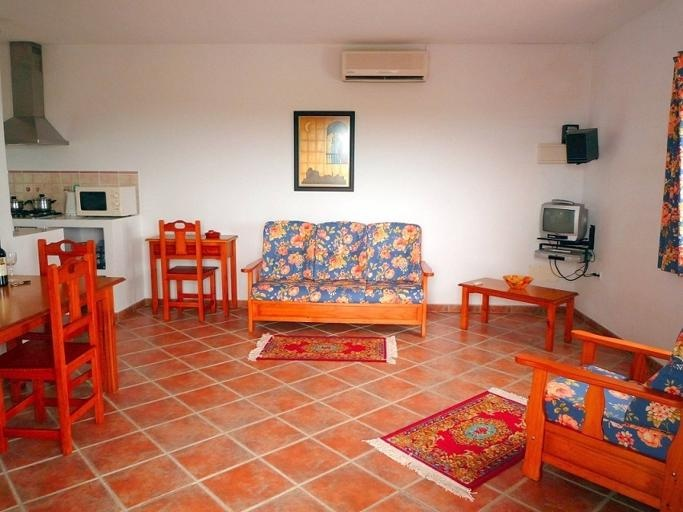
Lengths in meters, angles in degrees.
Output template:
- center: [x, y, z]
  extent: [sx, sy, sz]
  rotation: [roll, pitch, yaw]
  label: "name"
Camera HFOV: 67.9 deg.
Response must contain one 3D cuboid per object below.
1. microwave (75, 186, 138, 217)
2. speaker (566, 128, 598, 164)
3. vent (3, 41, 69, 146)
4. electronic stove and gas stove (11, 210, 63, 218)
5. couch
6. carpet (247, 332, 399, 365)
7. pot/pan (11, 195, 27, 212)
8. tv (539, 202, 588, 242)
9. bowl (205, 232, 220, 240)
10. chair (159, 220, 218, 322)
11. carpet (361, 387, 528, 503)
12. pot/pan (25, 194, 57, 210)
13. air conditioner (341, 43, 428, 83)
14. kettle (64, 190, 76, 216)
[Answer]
- center: [-2.778, -0.641, 5.954]
  extent: [0.644, 0.332, 0.404]
  rotation: [1, 5, 4]
  label: "microwave"
- center: [2.625, -1.213, 5.620]
  extent: [0.342, 0.262, 0.223]
  rotation: [-5, 10, 10]
  label: "speaker"
- center: [-3.606, -1.881, 5.851]
  extent: [0.547, 1.184, 0.507]
  rotation: [2, 10, 3]
  label: "vent"
- center: [-3.555, -0.499, 5.968]
  extent: [0.369, 0.075, 0.535]
  rotation: [9, 11, 44]
  label: "electronic stove and gas stove"
- center: [-0.018, 0.232, 5.683]
  extent: [1.990, 0.915, 0.794]
  rotation: [2, 27, 7]
  label: "couch"
- center: [-0.171, 0.897, 5.003]
  extent: [1.406, 0.049, 0.735]
  rotation: [1, 8, 2]
  label: "carpet"
- center: [-3.869, -0.616, 6.074]
  extent: [0.159, 0.188, 0.495]
  rotation: [-4, 10, -30]
  label: "pot/pan"
- center: [2.562, -0.403, 5.705]
  extent: [0.425, 0.422, 0.498]
  rotation: [-6, 10, -30]
  label: "tv"
- center: [-1.513, -0.236, 5.857]
  extent: [0.136, 0.051, 0.110]
  rotation: [1, 4, 27]
  label: "bowl"
- center: [-1.817, 0.131, 5.988]
  extent: [0.665, 1.131, 0.756]
  rotation: [-1, 10, -15]
  label: "chair"
- center: [0.916, 1.257, 3.558]
  extent: [0.660, 0.011, 1.212]
  rotation: [21, 17, 35]
  label: "carpet"
- center: [-3.689, -0.651, 6.119]
  extent: [0.368, 0.200, 0.298]
  rotation: [1, 9, -2]
  label: "pot/pan"
- center: [0.473, -2.149, 5.717]
  extent: [0.989, 0.290, 0.273]
  rotation: [1, 11, 3]
  label: "air conditioner"
- center: [-3.275, -0.628, 6.101]
  extent: [0.119, 0.290, 0.364]
  rotation: [-4, 10, -28]
  label: "kettle"
